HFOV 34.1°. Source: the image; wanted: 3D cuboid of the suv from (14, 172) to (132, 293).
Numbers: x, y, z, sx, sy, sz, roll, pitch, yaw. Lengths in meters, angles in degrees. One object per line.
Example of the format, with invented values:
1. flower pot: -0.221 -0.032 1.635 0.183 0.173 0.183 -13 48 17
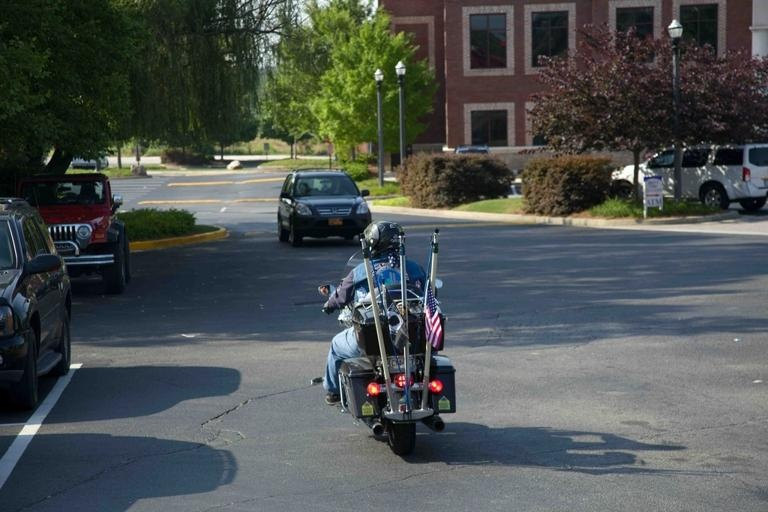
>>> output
1. suv: -6.488 -0.671 26.717 1.642 1.782 3.144 -2 -2 -3

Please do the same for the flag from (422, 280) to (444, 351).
1. flag: 0.698 0.910 17.640 0.264 0.937 0.362 0 14 2

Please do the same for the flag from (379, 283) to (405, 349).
1. flag: 0.100 0.859 17.892 0.229 1.085 0.318 -5 -16 -12

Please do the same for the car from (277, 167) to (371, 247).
1. car: -1.778 -1.403 34.193 1.509 1.425 2.805 -1 -2 -12

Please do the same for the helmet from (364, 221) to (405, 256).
1. helmet: 0.024 -0.284 18.202 0.443 0.505 0.523 -8 23 -39

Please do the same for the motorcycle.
1. motorcycle: 0.135 1.580 17.803 1.289 1.857 3.005 -4 9 -10
